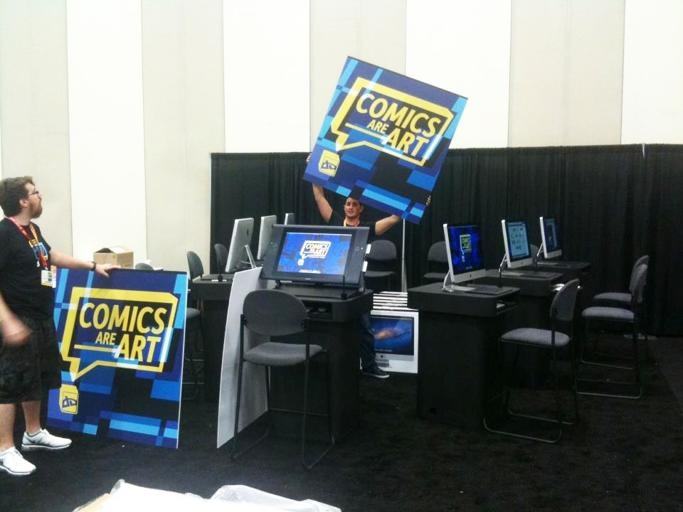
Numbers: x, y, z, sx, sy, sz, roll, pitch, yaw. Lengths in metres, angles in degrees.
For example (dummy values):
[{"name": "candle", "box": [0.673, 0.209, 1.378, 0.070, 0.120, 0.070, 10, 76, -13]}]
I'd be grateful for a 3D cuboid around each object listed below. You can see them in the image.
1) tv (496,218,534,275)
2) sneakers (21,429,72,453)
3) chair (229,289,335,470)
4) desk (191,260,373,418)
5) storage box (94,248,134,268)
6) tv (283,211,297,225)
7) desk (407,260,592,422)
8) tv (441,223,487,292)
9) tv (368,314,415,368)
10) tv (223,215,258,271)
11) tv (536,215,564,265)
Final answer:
[{"name": "tv", "box": [1.924, -0.114, 6.732, 0.202, 0.573, 0.600, -2, 3, 35]}, {"name": "sneakers", "box": [-2.400, 1.498, 4.996, 0.395, 0.198, 0.160, 2, 0, -10]}, {"name": "chair", "box": [-0.467, 0.887, 4.993, 0.840, 1.319, 0.912, 0, 14, 1]}, {"name": "desk", "box": [-0.504, 0.718, 5.181, 0.811, 1.694, 1.232, 2, 4, 6]}, {"name": "storage box", "box": [-2.752, 0.027, 7.353, 0.212, 0.167, 0.236, 2, 2, 17]}, {"name": "tv", "box": [-0.639, -0.480, 7.663, 0.041, 0.202, 0.261, 3, 5, 19]}, {"name": "desk", "box": [1.401, 1.035, 5.715, 1.022, 1.424, 1.980, 4, 7, 35]}, {"name": "tv", "box": [1.150, 0.022, 5.689, 0.187, 0.619, 0.645, -2, 2, 35]}, {"name": "tv", "box": [0.533, 0.863, 6.355, 0.490, 0.547, 0.181, 2, 10, 17]}, {"name": "tv", "box": [-1.099, -0.150, 6.569, 0.201, 0.613, 0.617, 7, 9, 7]}, {"name": "tv", "box": [2.517, -0.189, 7.276, 0.196, 0.486, 0.521, -13, -11, 31]}]
